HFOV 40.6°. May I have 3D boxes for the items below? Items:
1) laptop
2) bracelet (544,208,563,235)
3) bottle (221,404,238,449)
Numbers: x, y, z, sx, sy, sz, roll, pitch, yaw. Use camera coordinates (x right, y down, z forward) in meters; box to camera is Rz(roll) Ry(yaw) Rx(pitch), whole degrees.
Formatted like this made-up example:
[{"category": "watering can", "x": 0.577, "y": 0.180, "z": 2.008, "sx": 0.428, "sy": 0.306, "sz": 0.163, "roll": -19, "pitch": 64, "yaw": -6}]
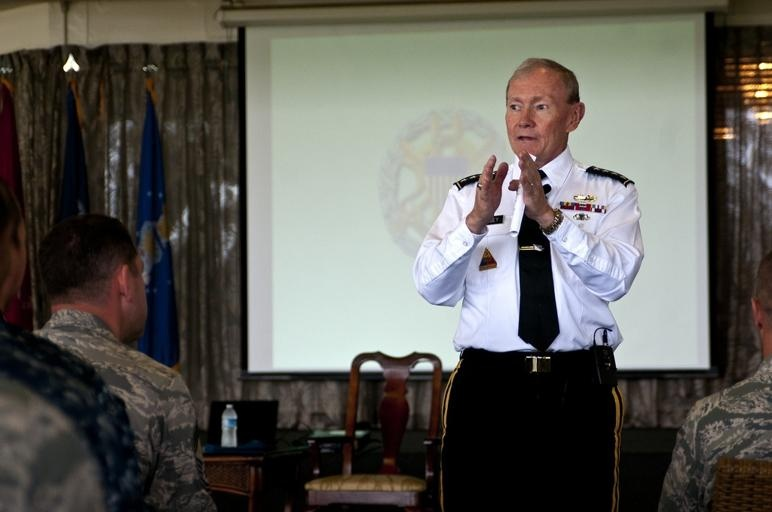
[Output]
[{"category": "laptop", "x": -0.939, "y": 1.100, "z": 6.727, "sx": 0.368, "sy": 0.232, "sz": 0.344, "roll": 0, "pitch": -9, "yaw": -2}, {"category": "bracelet", "x": 0.866, "y": -0.169, "z": 5.458, "sx": 0.053, "sy": 0.122, "sz": 0.105, "roll": 20, "pitch": -23, "yaw": -27}, {"category": "bottle", "x": -1.021, "y": 1.096, "z": 6.760, "sx": 0.103, "sy": 0.264, "sz": 0.193, "roll": 0, "pitch": -1, "yaw": -10}]
